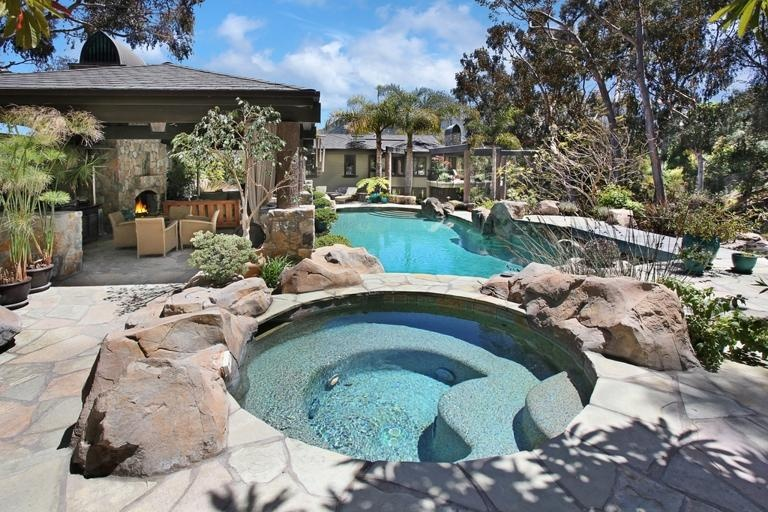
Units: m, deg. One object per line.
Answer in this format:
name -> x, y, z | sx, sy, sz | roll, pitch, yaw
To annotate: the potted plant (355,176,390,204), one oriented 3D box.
potted plant -> -0.535, -4.507, 28.087 | 2.178, 1.021, 2.385 | 1, 15, -2
